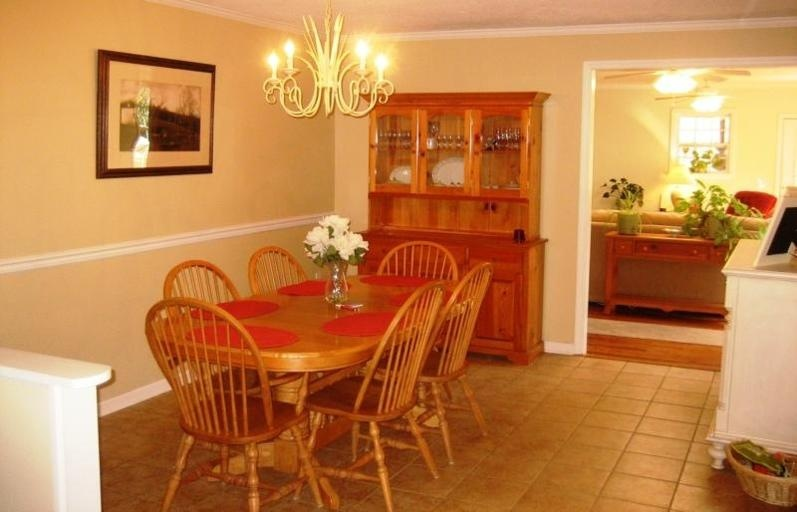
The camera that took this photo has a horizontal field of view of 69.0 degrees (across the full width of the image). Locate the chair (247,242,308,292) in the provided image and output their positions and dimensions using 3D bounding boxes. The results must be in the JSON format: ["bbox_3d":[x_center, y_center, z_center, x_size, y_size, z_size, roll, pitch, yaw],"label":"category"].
[{"bbox_3d":[-1.069,0.103,4.999,0.439,0.517,0.439,6,12,34],"label":"chair"}]

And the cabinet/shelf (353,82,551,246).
[{"bbox_3d":[0.617,-0.933,5.772,1.994,1.482,0.555,1,3,18],"label":"cabinet/shelf"}]

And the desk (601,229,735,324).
[{"bbox_3d":[3.202,0.224,6.834,1.222,0.797,0.414,2,7,21],"label":"desk"}]

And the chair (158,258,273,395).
[{"bbox_3d":[-1.352,0.358,4.207,0.481,0.602,0.496,2,9,42],"label":"chair"}]

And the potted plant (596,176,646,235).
[{"bbox_3d":[3.403,-0.731,8.671,0.766,0.781,0.659,3,0,-11],"label":"potted plant"}]

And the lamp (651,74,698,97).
[{"bbox_3d":[3.216,-2.044,6.793,0.412,0.214,0.499,6,13,31],"label":"lamp"}]

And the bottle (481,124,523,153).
[{"bbox_3d":[1.014,-1.152,5.627,0.328,0.198,0.017,3,8,21],"label":"bottle"}]

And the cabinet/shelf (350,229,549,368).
[{"bbox_3d":[0.532,0.358,6.187,1.934,1.150,0.649,6,12,29],"label":"cabinet/shelf"}]

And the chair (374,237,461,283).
[{"bbox_3d":[0.212,0.067,5.542,0.556,0.626,0.481,3,-1,23],"label":"chair"}]

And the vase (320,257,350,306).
[{"bbox_3d":[-0.436,0.180,4.078,0.212,0.286,0.212,5,5,43],"label":"vase"}]

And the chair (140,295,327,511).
[{"bbox_3d":[-1.009,0.855,3.435,1.030,1.354,0.840,10,15,40],"label":"chair"}]
